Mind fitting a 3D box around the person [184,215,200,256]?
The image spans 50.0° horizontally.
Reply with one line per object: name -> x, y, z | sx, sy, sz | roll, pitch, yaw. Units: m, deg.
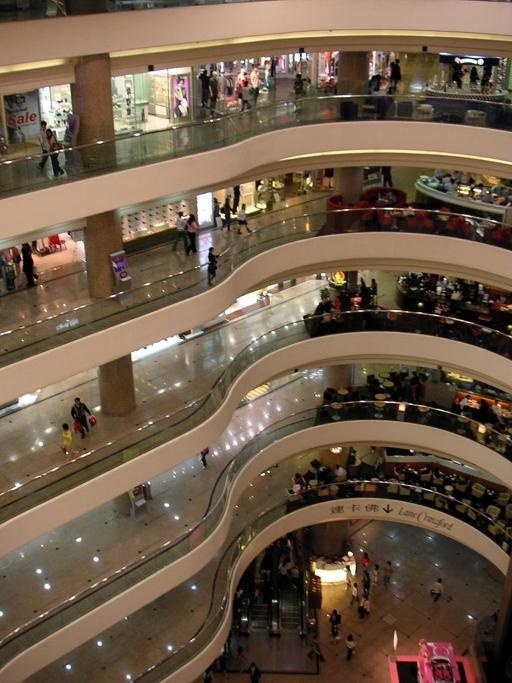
person -> -1.401, -2.270, 11.631 | 0.280, 0.865, 0.640 | -6, 23, -6

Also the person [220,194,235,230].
person -> -0.762, -3.209, 13.840 | 0.259, 0.705, 0.676 | -5, 23, -4

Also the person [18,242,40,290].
person -> -4.423, -1.506, 10.579 | 0.237, 0.700, 0.966 | -13, 25, -21

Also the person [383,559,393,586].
person -> 4.233, 7.350, 17.597 | 0.281, 1.143, 0.575 | 3, 24, 14

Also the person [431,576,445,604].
person -> 5.631, 7.734, 17.074 | 0.353, 0.852, 0.446 | 5, 24, 20

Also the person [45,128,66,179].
person -> -2.890, -2.714, 7.827 | 0.179, 0.601, 1.266 | -11, 24, -17

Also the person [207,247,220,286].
person -> -0.883, -1.504, 11.159 | 0.304, 0.946, 0.321 | -11, 54, -12
